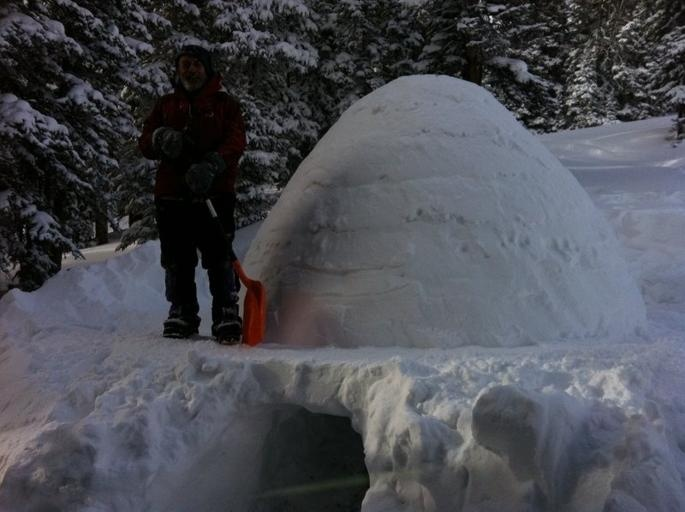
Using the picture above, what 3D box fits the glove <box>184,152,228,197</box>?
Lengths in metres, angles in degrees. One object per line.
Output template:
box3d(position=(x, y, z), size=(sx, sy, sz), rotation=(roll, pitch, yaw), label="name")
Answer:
box3d(position=(-1.362, -0.850, 6.743), size=(0.493, 0.302, 0.185), rotation=(-59, 17, -19), label="glove")

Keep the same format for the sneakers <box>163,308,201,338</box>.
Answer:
box3d(position=(-1.633, 0.713, 6.934), size=(0.220, 0.275, 0.361), rotation=(-3, -18, 11), label="sneakers")

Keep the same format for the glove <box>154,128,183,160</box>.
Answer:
box3d(position=(-1.711, -1.109, 6.630), size=(0.222, 0.357, 0.115), rotation=(-12, -10, 20), label="glove")

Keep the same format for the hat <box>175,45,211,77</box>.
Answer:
box3d(position=(-1.507, -1.964, 6.837), size=(0.367, 0.327, 0.211), rotation=(-11, 24, -14), label="hat")
